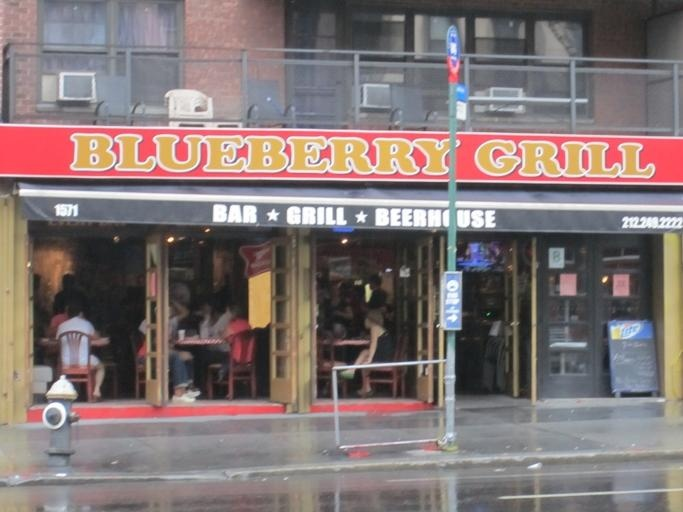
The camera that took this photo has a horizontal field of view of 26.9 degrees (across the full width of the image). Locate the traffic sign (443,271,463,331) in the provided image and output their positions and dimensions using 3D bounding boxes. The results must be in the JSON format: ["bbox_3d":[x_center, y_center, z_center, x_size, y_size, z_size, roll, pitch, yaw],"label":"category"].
[{"bbox_3d":[1.729,0.691,22.308,0.346,0.920,0.252,0,-5,-10],"label":"traffic sign"}]

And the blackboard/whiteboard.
[{"bbox_3d":[5.429,1.881,26.464,0.962,1.382,0.178,-1,-5,-9],"label":"blackboard/whiteboard"}]

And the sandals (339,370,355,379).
[{"bbox_3d":[0.113,2.143,26.178,0.254,0.191,0.292,1,2,-6],"label":"sandals"}]

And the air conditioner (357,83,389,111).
[{"bbox_3d":[0.581,-2.801,25.543,0.707,0.514,0.383,0,-2,-8],"label":"air conditioner"}]

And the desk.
[{"bbox_3d":[3.413,-2.577,25.855,1.839,0.742,1.145,-1,3,-12],"label":"desk"}]

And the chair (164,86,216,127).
[{"bbox_3d":[-2.679,-2.593,24.999,0.866,0.655,0.352,-1,-5,-6],"label":"chair"}]

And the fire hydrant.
[{"bbox_3d":[-4.273,2.474,21.598,0.504,1.351,0.393,-1,-5,-4],"label":"fire hydrant"}]

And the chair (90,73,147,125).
[{"bbox_3d":[-3.958,-2.746,25.075,0.768,0.827,0.841,5,4,-25],"label":"chair"}]

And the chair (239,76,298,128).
[{"bbox_3d":[-1.314,-2.705,25.226,0.850,0.854,0.772,2,4,-26],"label":"chair"}]

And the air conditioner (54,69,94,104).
[{"bbox_3d":[-4.691,-2.934,24.994,0.607,0.507,0.214,0,1,-5],"label":"air conditioner"}]
